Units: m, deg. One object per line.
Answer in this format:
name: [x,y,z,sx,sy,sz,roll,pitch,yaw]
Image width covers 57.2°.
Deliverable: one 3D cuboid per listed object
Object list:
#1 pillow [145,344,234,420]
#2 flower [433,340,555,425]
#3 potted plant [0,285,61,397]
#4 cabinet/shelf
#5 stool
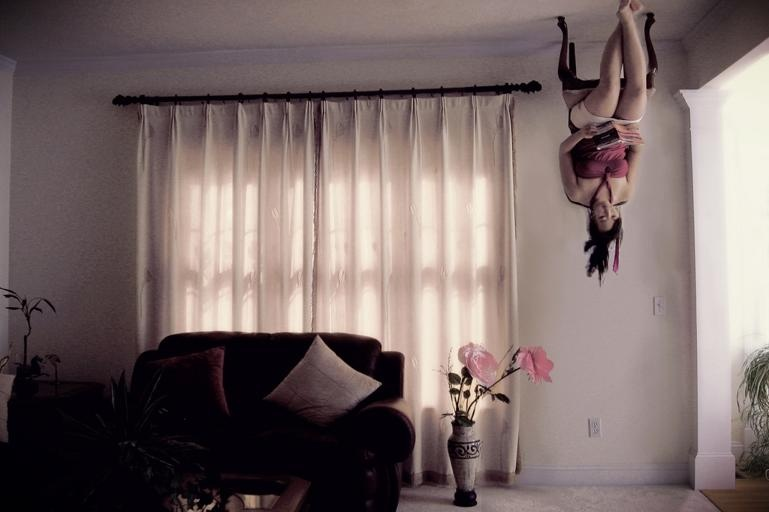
pillow: [-1.523,1.088,5.768,0.606,0.600,0.186,0,-20,-2]
flower: [0.862,1.010,5.878,0.896,0.920,0.708,5,1,-39]
potted plant: [-3.122,0.792,6.240,0.559,1.017,0.760,-3,-6,-4]
cabinet/shelf: [-2.736,1.269,5.861,0.655,0.315,0.672,3,6,13]
stool: [1.825,-1.591,5.679,0.835,0.811,0.410,0,-13,7]
